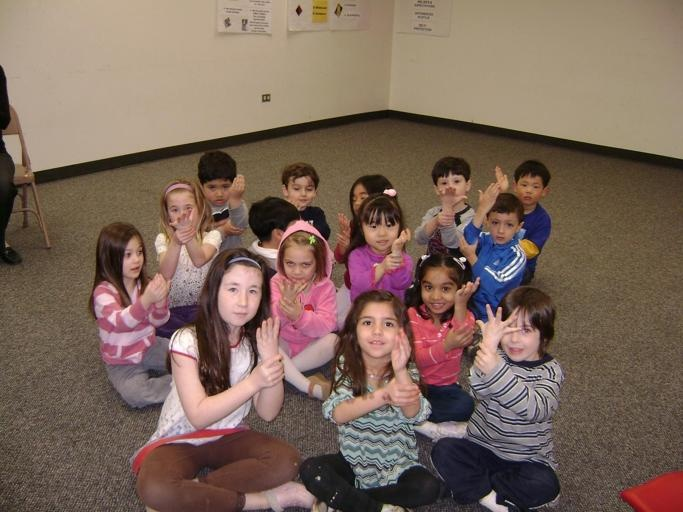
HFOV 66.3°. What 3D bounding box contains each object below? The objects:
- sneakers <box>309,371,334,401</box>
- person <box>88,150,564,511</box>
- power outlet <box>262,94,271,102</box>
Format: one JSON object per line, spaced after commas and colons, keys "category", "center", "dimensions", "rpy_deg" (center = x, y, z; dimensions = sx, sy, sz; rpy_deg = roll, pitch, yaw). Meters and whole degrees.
{"category": "sneakers", "center": [-0.095, 0.612, 2.367], "dimensions": [0.116, 0.055, 0.124], "rpy_deg": [19, 20, 15]}
{"category": "person", "center": [0.154, 0.257, 2.285], "dimensions": [1.449, 0.903, 1.676], "rpy_deg": [5, 26, 7]}
{"category": "power outlet", "center": [-0.828, -1.750, 5.747], "dimensions": [0.006, 0.060, 0.082], "rpy_deg": [22, 32, 36]}
